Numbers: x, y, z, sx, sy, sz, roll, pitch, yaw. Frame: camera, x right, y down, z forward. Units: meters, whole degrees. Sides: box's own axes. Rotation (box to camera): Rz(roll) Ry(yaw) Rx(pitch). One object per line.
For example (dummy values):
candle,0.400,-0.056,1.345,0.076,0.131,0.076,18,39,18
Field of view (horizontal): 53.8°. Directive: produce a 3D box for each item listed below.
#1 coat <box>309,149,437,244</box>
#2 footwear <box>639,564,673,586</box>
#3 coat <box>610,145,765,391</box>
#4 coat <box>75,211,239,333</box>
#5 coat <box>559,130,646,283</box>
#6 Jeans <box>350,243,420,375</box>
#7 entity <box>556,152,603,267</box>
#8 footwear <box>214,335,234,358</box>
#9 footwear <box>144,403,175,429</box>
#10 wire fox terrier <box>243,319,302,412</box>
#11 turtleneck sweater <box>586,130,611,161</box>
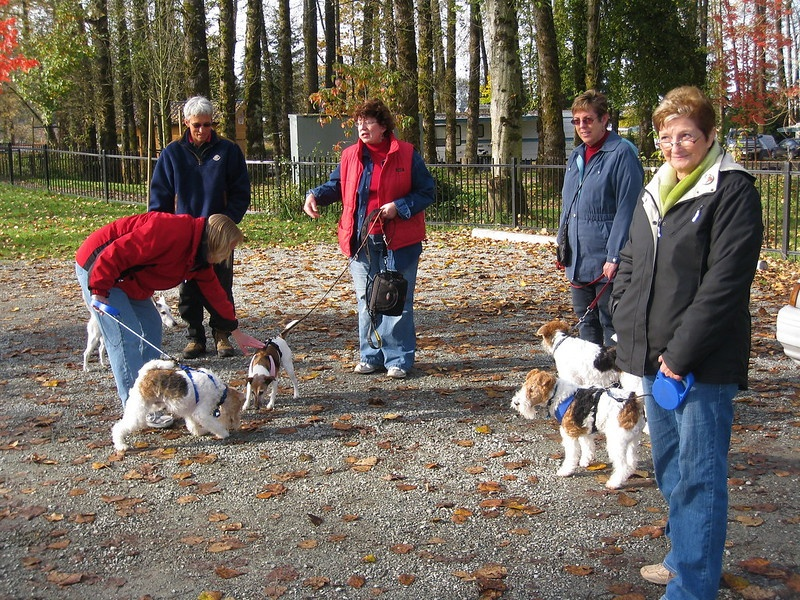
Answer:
coat,-0.268,-1.095,8.056,1.228,1.317,0.823,1,10,15
footwear,1.659,1.756,5.067,0.179,0.117,0.076,3,-31,14
coat,1.710,-0.199,4.726,0.819,1.392,0.558,6,15,25
coat,-2.080,-0.359,6.787,1.169,0.922,0.845,15,10,7
coat,1.834,-0.852,7.332,0.517,1.346,0.837,2,0,-30
Jeans,-0.125,0.170,7.904,0.692,1.316,0.357,7,16,-4
entity,1.682,-0.782,7.489,0.442,0.858,0.221,6,0,37
footwear,-2.015,0.533,8.985,0.126,0.161,0.347,-3,7,-27
footwear,-2.121,1.042,6.998,0.170,0.170,0.370,-3,3,-31
wire fox terrier,-1.241,0.656,7.643,0.310,0.710,1.096,3,13,9
turtleneck sweater,1.829,-1.404,7.262,0.170,0.198,0.247,-8,11,19
